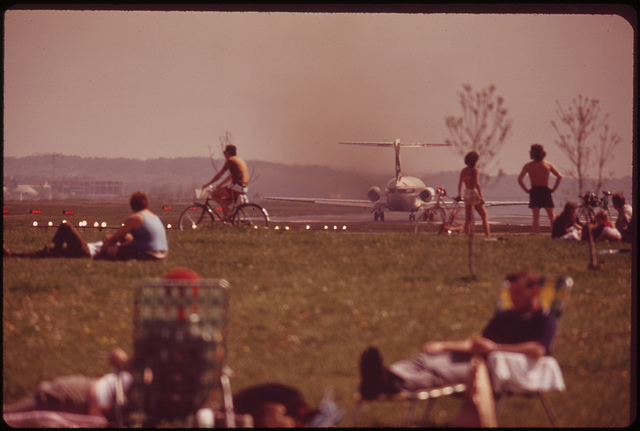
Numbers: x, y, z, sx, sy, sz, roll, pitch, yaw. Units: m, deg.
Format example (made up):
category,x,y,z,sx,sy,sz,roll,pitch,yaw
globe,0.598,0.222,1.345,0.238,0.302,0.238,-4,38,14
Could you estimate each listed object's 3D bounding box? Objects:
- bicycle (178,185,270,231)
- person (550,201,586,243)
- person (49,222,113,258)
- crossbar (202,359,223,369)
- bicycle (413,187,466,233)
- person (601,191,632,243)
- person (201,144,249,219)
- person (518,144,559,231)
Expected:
category,x,y,z,sx,sy,sz,roll,pitch,yaw
bicycle,-2.128,-0.167,18.231,1.969,1.280,0.937,0,1,-1
person,5.486,0.118,17.474,0.837,1.003,0.753,-3,9,-22
person,-4.873,0.461,16.288,1.196,0.503,0.686,4,3,13
crossbar,-1.584,2.184,11.647,0.222,0.167,0.124,1,7,-2
bicycle,3.232,-0.153,21.577,1.833,1.182,0.939,7,10,-9
person,6.352,0.026,17.027,0.509,1.070,0.476,0,1,39
person,-2.009,-0.736,17.572,0.903,1.595,0.536,-1,1,-5
person,4.818,-0.594,17.490,0.828,1.855,0.757,-1,1,-3
